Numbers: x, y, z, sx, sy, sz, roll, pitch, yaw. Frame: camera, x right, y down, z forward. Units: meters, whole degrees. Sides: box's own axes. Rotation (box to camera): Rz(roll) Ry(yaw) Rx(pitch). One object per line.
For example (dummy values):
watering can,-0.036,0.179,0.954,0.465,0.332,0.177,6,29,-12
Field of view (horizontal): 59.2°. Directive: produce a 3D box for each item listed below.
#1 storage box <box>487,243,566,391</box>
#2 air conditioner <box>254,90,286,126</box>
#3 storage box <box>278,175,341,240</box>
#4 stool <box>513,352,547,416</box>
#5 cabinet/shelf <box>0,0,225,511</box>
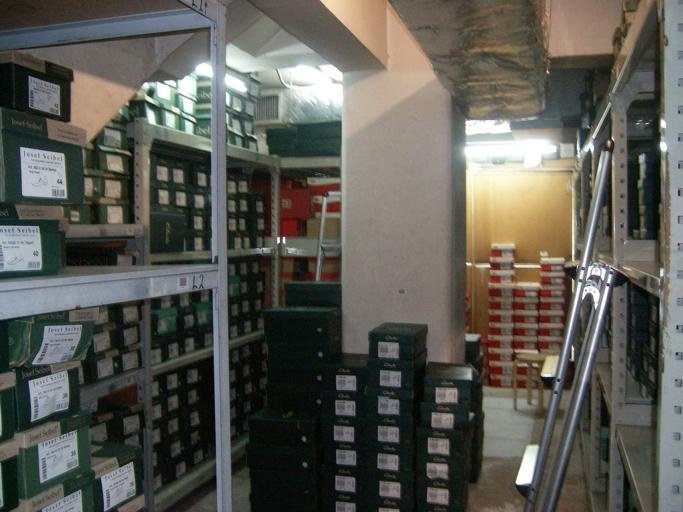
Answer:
storage box,1.974,0.645,6.473,0.827,1.531,0.322,-1,2,19
air conditioner,-0.529,-1.237,4.982,0.155,0.286,0.271,-11,18,-31
storage box,-0.259,-0.392,5.299,0.546,0.601,0.550,0,-3,7
stool,1.759,1.193,5.767,0.363,0.459,0.376,7,-4,42
cabinet/shelf,-0.643,0.025,2.029,0.600,1.794,0.662,-3,3,-27
